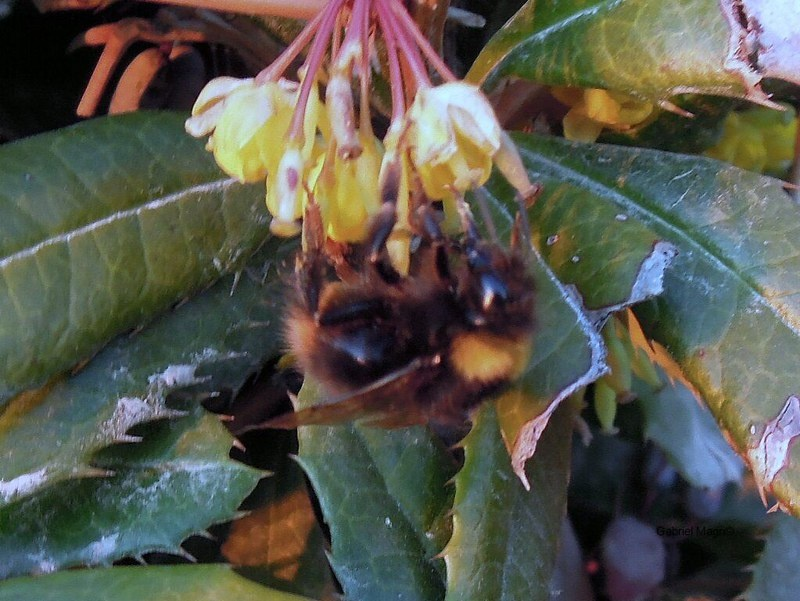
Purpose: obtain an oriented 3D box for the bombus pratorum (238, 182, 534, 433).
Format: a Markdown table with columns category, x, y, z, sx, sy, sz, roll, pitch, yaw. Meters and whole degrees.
| category | x | y | z | sx | sy | sz | roll | pitch | yaw |
| --- | --- | --- | --- | --- | --- | --- | --- | --- | --- |
| bombus pratorum | 0.005 | 0.017 | 0.838 | 0.204 | 0.182 | 0.149 | 3 | 24 | 2 |
